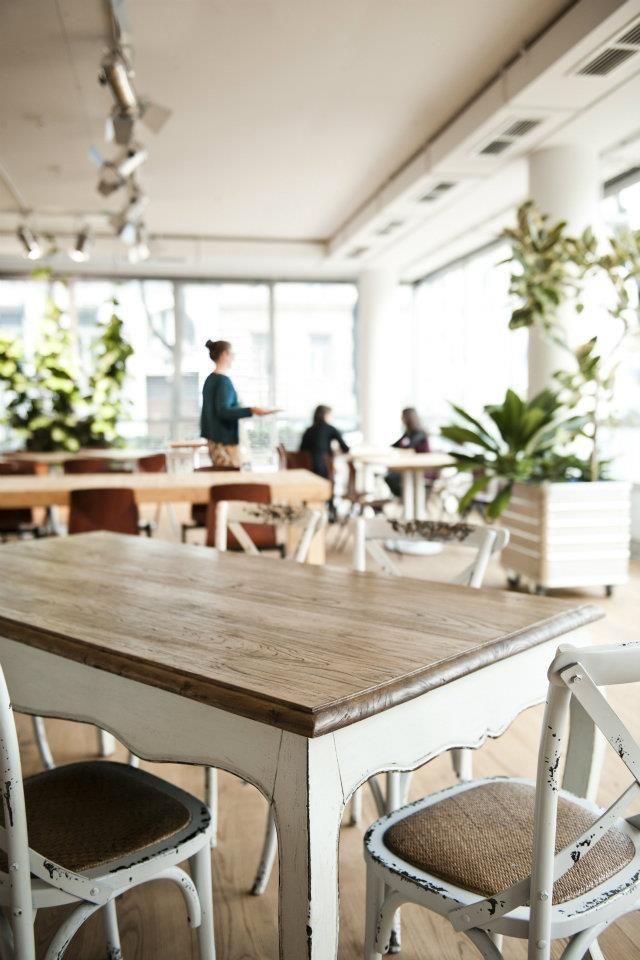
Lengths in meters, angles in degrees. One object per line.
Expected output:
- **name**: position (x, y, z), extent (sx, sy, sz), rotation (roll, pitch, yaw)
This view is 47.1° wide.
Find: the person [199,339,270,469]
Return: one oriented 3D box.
- **person**: position (-0.577, -0.325, 4.904), extent (0.429, 1.169, 0.428), rotation (-6, 17, -32)
